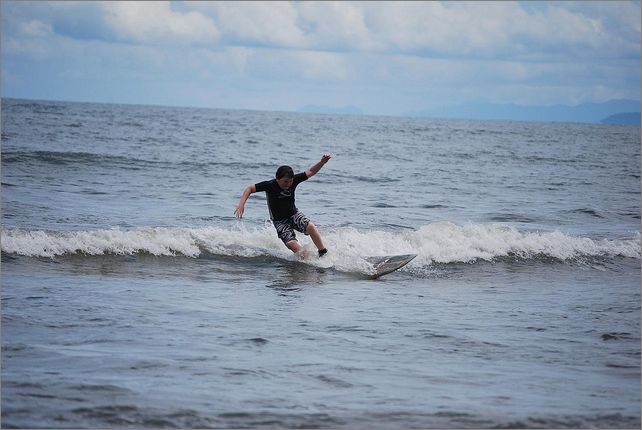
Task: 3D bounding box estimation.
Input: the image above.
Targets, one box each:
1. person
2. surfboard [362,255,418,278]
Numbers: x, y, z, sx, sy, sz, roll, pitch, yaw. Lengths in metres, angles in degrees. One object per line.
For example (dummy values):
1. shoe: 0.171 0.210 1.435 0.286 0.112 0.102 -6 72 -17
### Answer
1. person: -0.670 -0.197 16.149 1.751 2.091 0.706 4 6 -3
2. surfboard: 1.244 0.987 15.977 1.152 0.442 0.761 -1 6 -42
